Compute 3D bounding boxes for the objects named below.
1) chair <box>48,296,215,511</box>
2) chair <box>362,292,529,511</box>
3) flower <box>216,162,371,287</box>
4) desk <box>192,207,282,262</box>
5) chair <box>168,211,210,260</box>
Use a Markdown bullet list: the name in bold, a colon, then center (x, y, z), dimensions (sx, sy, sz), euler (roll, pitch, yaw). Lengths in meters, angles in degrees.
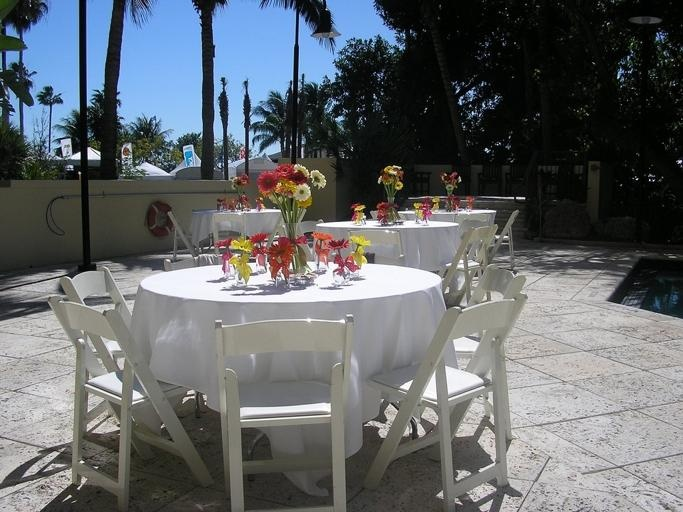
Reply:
- **chair**: center (-1.316, 0.793, 3.195), dimensions (1.010, 1.160, 0.554), euler (8, 13, 39)
- **chair**: center (0.728, 0.799, 3.654), dimensions (1.052, 1.715, 1.009), euler (5, 7, 42)
- **flower**: center (-0.286, -0.112, 3.830), dimensions (0.905, 0.896, 0.983), euler (1, 13, 9)
- **desk**: center (-2.022, -0.623, 10.152), dimensions (1.386, 0.971, 1.520), euler (0, 2, 2)
- **chair**: center (-3.185, -0.430, 10.764), dimensions (0.728, 0.975, 0.675), euler (1, 7, 19)
